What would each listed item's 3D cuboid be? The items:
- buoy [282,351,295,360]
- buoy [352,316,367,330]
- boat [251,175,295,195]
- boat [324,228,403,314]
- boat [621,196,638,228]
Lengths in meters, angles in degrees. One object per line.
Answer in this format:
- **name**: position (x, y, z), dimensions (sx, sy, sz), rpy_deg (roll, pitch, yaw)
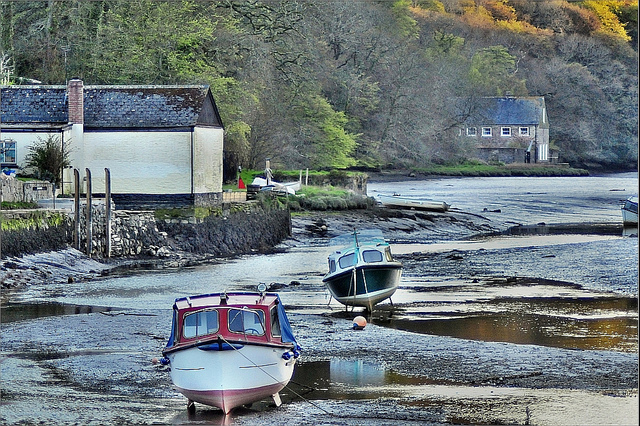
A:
- **buoy**: position (-1.642, 7.687, 81.733), dimensions (0.510, 0.258, 0.395), rpy_deg (3, -4, -21)
- **buoy**: position (2.351, 6.452, 88.636), dimensions (0.838, 0.702, 0.533), rpy_deg (-3, 2, -11)
- **boat**: position (-3.458, -2.042, 114.084), dimensions (2.168, 0.770, 1.644), rpy_deg (9, -6, -1)
- **boat**: position (2.960, 3.594, 101.092), dimensions (4.772, 4.081, 21.119), rpy_deg (-3, 2, 1)
- **boat**: position (24.019, 0.107, 117.285), dimensions (1.069, 2.155, 2.991), rpy_deg (-3, 2, 10)
